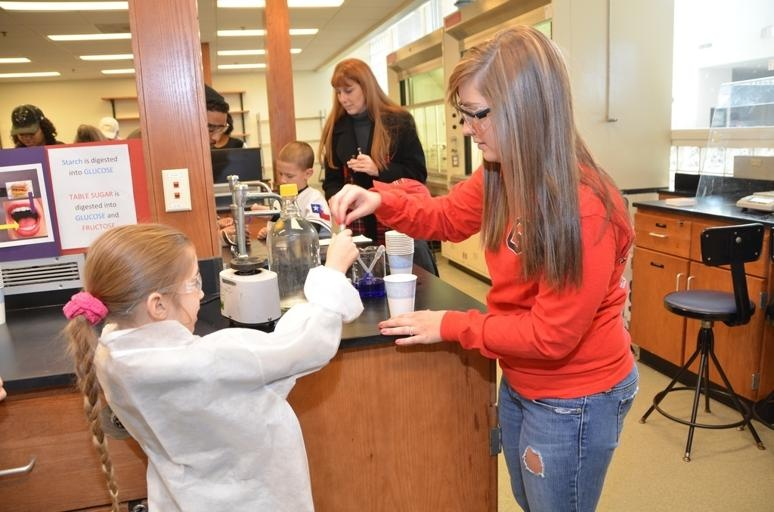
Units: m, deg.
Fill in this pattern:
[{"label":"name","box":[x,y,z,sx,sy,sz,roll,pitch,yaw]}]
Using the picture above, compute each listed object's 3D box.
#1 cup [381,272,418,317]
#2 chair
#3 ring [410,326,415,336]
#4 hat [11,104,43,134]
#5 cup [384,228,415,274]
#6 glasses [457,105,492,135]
[{"label":"cup","box":[0.035,0.134,1.863,0.132,0.138,0.137,-2,1,0]},{"label":"chair","box":[1.779,0.411,2.967,0.606,1.192,0.570,-6,12,-11]},{"label":"ring","box":[0.085,0.248,1.767,0.023,0.024,0.023,-2,8,0]},{"label":"hat","box":[-2.578,-0.974,3.800,0.220,0.214,0.261,-11,13,-31]},{"label":"cup","box":[0.050,-0.012,2.073,0.150,0.179,0.144,-2,0,0]},{"label":"glasses","box":[0.263,-0.413,1.613,0.086,0.037,0.081,-16,26,-27]}]
